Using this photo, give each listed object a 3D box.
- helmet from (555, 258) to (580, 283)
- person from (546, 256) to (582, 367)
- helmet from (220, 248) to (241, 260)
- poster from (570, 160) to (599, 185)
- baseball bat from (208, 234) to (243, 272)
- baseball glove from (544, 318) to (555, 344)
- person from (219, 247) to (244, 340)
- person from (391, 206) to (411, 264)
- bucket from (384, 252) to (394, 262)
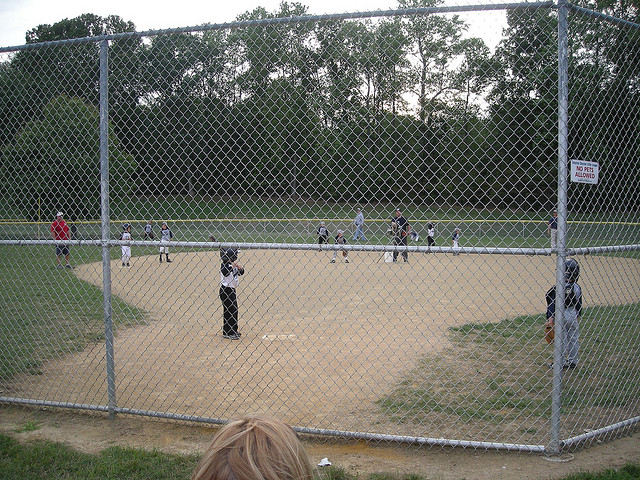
[{"bbox_3d":[3.130,0.393,10.320,0.228,0.358,0.340,3,-20,11],"label":"helmet"},{"bbox_3d":[3.360,1.062,11.214,0.502,1.549,3.073,3,3,19],"label":"person"},{"bbox_3d":[-1.479,0.237,13.275,0.233,0.136,0.357,3,-1,-3],"label":"helmet"},{"bbox_3d":[2.946,-0.752,9.095,0.437,0.251,0.143,1,3,-32],"label":"poster"},{"bbox_3d":[-1.806,0.270,15.607,0.153,1.207,0.156,-37,-6,-10],"label":"baseball bat"},{"bbox_3d":[3.307,1.331,11.748,0.101,0.388,0.630,3,3,15],"label":"baseball glove"},{"bbox_3d":[-1.453,0.876,13.356,0.387,1.503,0.838,2,3,-5],"label":"person"},{"bbox_3d":[2.262,-0.135,22.756,0.556,1.551,0.459,11,36,20],"label":"person"},{"bbox_3d":[1.898,0.490,22.421,0.281,0.337,0.314,0,5,-5],"label":"bucket"}]
